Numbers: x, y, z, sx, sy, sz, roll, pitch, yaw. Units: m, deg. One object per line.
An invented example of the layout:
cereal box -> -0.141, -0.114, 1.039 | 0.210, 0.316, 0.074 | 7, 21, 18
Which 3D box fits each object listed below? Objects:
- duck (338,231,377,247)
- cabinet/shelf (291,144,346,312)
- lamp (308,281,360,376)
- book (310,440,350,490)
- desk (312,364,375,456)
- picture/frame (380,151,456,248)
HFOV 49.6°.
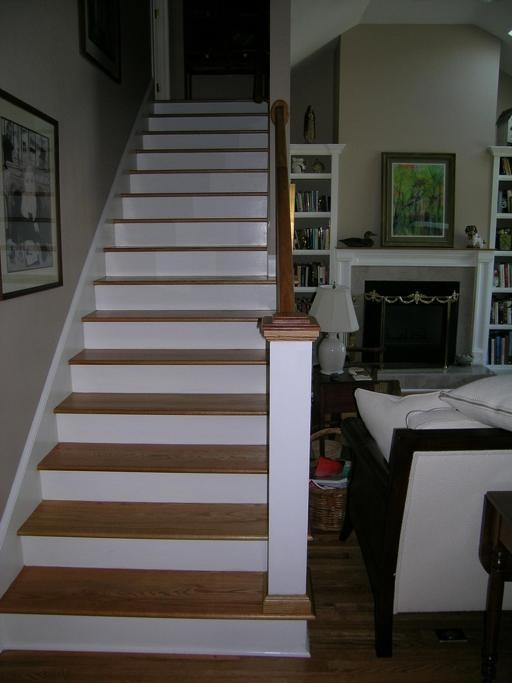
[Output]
duck -> 0.982, -0.957, 5.336 | 0.294, 0.165, 0.196 | 1, 16, 5
cabinet/shelf -> 0.589, -1.097, 5.429 | 0.501, 1.596, 0.620 | 0, 9, 4
lamp -> 0.471, -0.074, 3.371 | 0.253, 0.547, 0.293 | 0, 13, -2
book -> 0.378, 0.659, 2.838 | 0.139, 0.217, 0.503 | 1, 5, 6
desk -> 0.548, 0.425, 3.766 | 0.422, 0.706, 0.407 | 0, 13, 3
picture/frame -> 1.552, -1.405, 5.356 | 0.731, 1.130, 0.043 | 0, 7, -1
